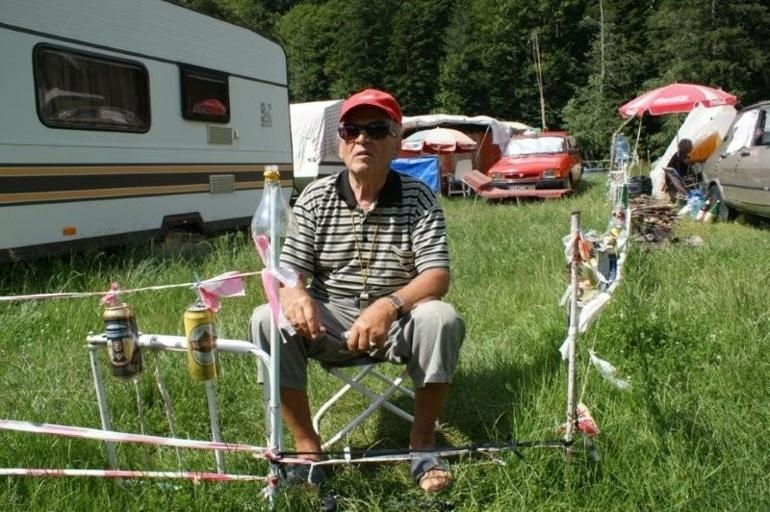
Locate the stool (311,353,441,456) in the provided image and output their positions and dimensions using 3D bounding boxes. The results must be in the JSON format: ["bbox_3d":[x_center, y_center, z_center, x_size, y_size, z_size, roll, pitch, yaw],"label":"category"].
[{"bbox_3d":[-0.130,1.027,5.302,0.779,0.595,0.632,-3,11,-23],"label":"stool"}]

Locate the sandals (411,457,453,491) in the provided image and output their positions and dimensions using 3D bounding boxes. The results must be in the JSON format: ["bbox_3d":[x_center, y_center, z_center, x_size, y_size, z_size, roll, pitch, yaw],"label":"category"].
[{"bbox_3d":[0.333,1.439,4.539,0.166,0.151,0.346,1,-19,-8],"label":"sandals"}]

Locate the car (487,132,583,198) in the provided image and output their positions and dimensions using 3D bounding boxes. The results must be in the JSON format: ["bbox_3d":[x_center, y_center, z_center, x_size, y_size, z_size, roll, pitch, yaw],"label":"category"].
[{"bbox_3d":[3.345,-1.992,15.034,1.127,1.032,2.600,1,11,22],"label":"car"}]

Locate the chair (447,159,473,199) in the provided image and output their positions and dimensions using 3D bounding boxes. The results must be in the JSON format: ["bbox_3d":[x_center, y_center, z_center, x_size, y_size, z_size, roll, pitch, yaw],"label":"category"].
[{"bbox_3d":[1.939,-2.115,18.578,0.574,0.827,0.625,-4,-5,0],"label":"chair"}]

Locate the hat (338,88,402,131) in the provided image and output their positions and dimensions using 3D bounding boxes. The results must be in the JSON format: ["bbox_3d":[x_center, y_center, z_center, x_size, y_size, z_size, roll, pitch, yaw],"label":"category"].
[{"bbox_3d":[-0.060,-1.080,5.100,0.378,0.283,0.573,0,-1,5],"label":"hat"}]

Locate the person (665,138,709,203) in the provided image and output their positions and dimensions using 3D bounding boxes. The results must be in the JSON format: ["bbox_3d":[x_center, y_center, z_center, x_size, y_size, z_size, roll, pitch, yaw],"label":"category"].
[{"bbox_3d":[5.692,-1.603,12.934,0.579,1.227,0.498,-4,-6,23],"label":"person"}]
